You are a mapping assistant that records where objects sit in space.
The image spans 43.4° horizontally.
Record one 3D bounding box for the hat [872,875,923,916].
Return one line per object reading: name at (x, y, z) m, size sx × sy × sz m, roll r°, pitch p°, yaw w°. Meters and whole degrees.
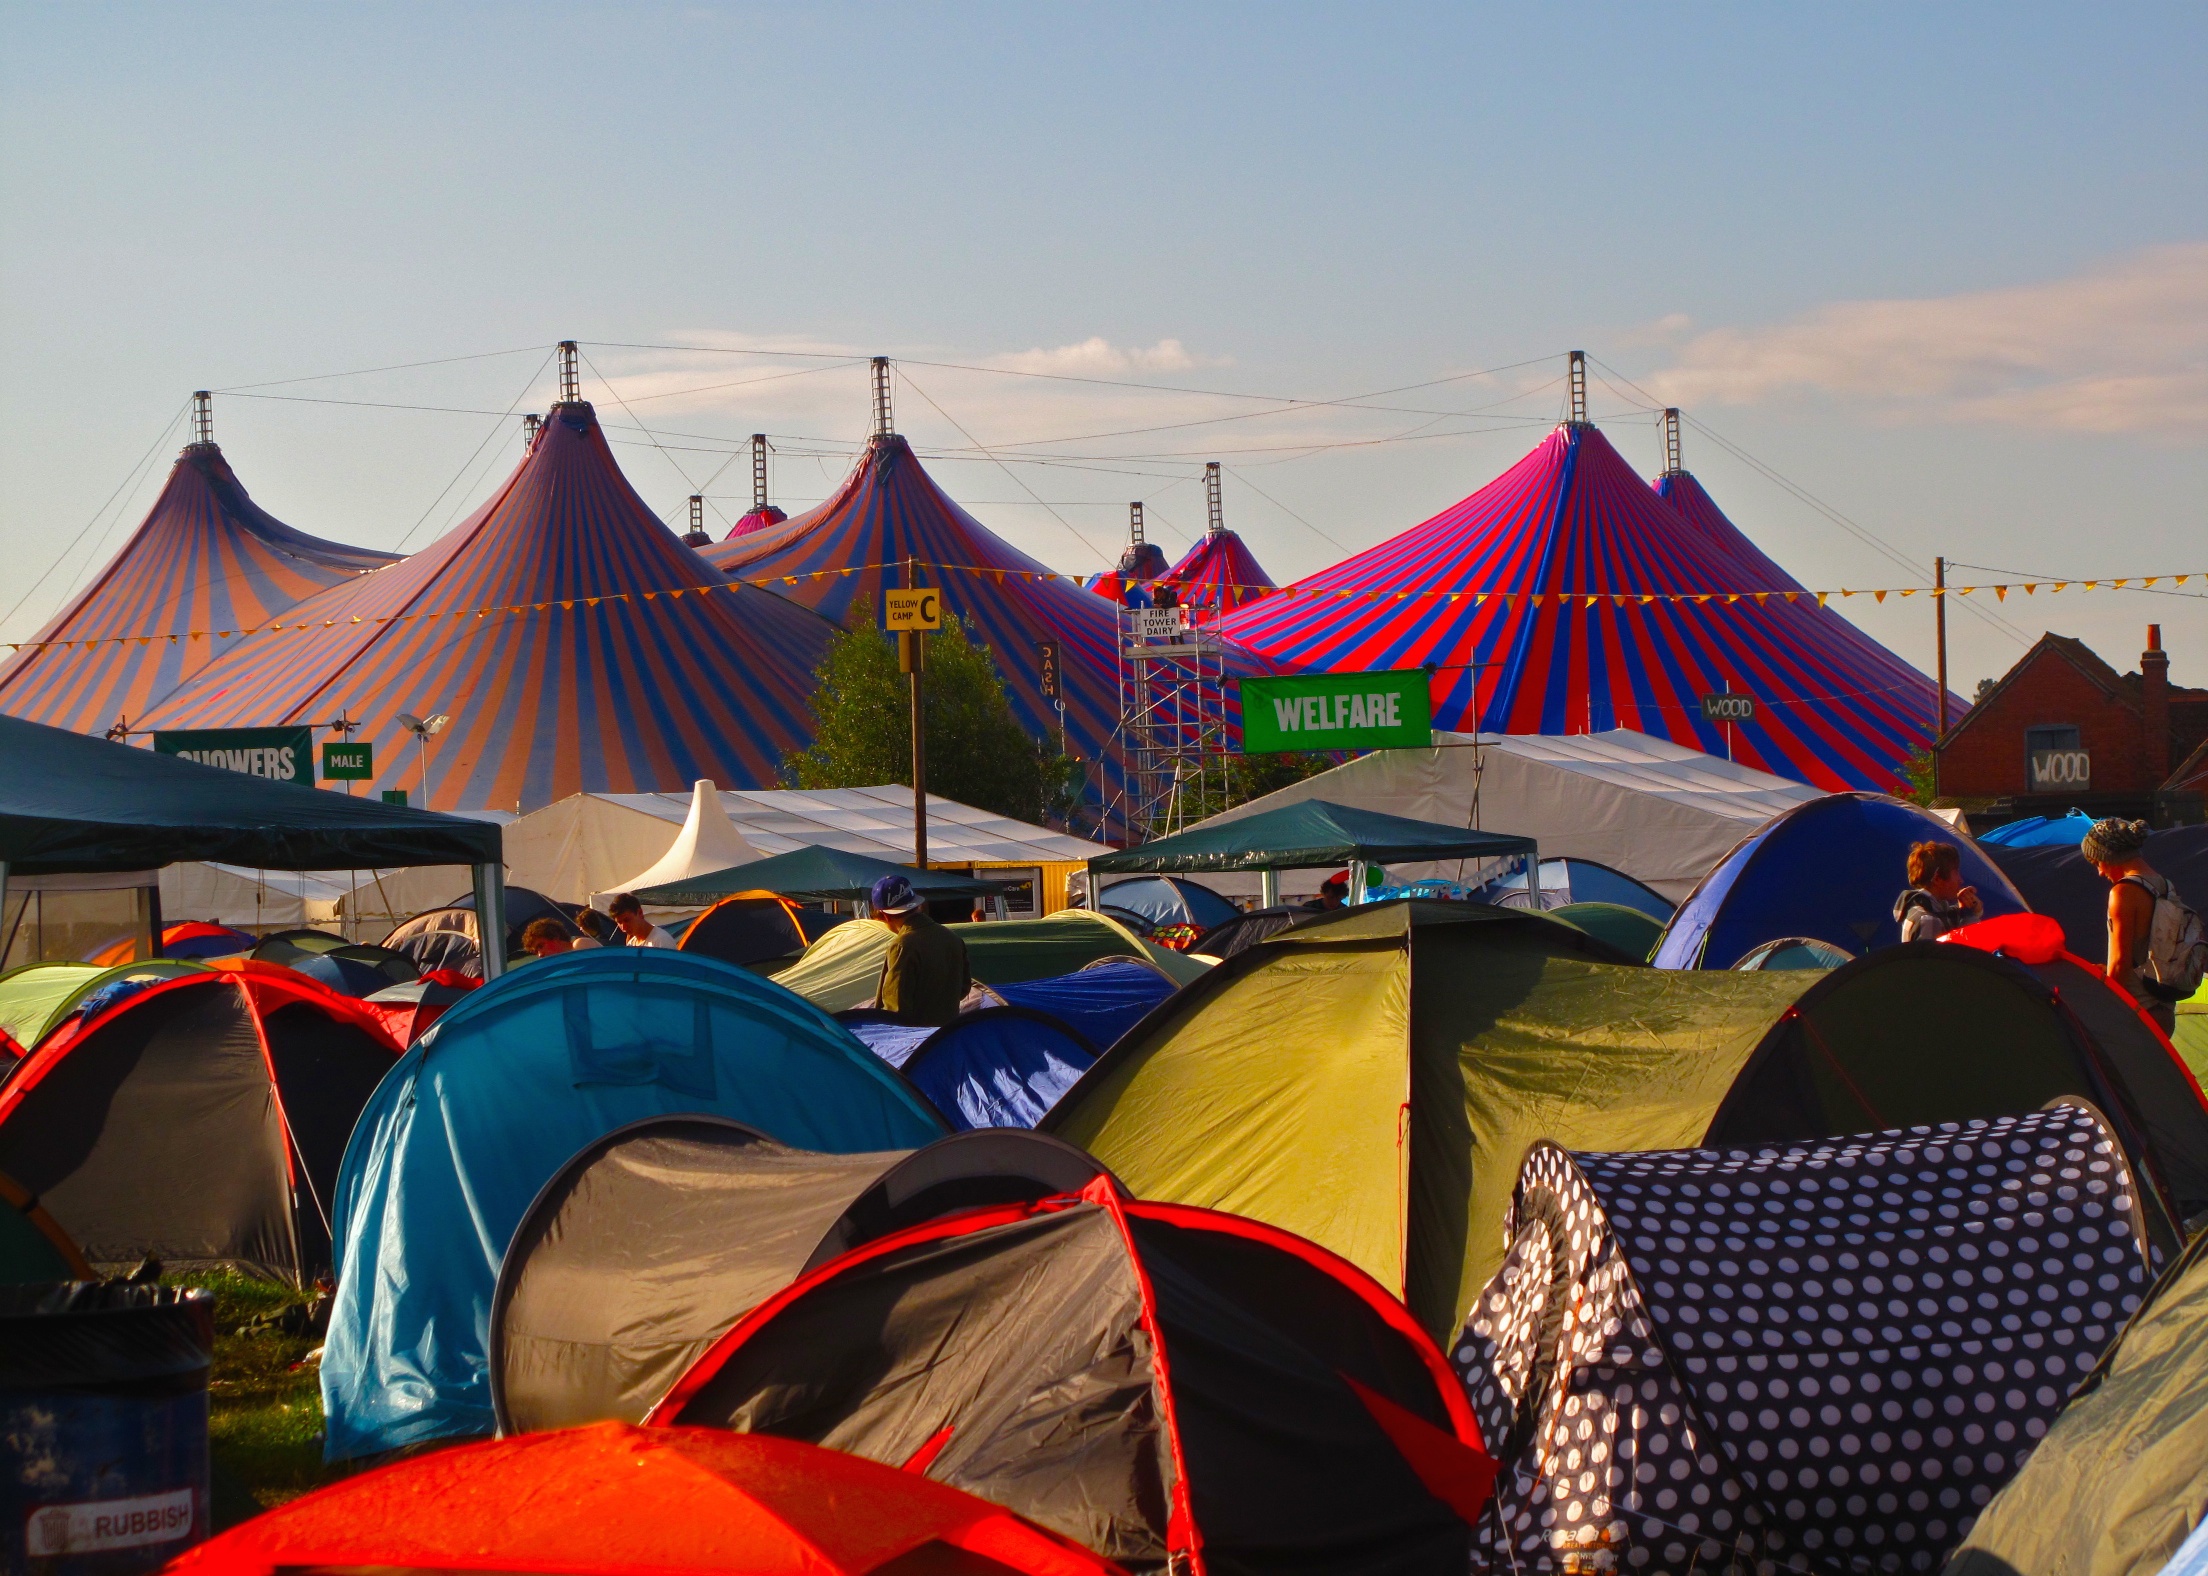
hat at (-1.043, 0.553, 13.945) m, size 0.248 × 0.119 × 0.188 m, roll 5°, pitch 18°, yaw 36°
